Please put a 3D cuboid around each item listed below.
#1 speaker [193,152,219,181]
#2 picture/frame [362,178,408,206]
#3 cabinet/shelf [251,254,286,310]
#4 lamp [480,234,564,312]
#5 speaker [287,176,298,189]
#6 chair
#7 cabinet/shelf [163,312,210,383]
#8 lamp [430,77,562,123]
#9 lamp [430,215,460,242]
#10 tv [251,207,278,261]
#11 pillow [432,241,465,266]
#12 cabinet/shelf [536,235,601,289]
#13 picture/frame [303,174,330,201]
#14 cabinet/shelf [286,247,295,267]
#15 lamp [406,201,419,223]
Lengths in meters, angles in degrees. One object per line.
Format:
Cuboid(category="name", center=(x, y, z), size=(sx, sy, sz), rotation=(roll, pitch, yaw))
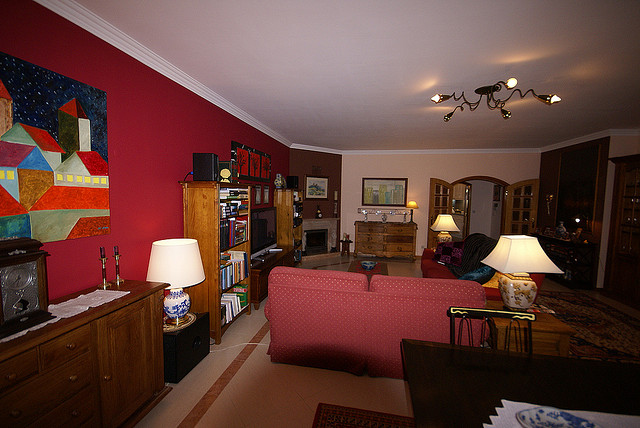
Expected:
Cuboid(category="speaker", center=(-1.441, -0.598, 4.918), size=(0.303, 0.357, 0.252), rotation=(-1, 2, -18))
Cuboid(category="picture/frame", center=(1.605, -0.554, 9.692), size=(1.060, 0.653, 0.223), rotation=(0, 3, 24))
Cuboid(category="cabinet/shelf", center=(-0.745, 0.960, 5.400), size=(0.235, 0.307, 0.813), rotation=(1, 4, 17))
Cuboid(category="lamp", center=(2.262, 0.683, 4.437), size=(0.833, 0.846, 0.811), rotation=(-3, 5, -38))
Cuboid(category="speaker", center=(-0.574, -0.649, 7.995), size=(0.241, 0.270, 0.762), rotation=(-1, 2, -6))
Cuboid(category="chair", center=(1.615, 1.170, 3.872), size=(0.767, 0.491, 0.437), rotation=(4, -3, -2))
Cuboid(category="cabinet/shelf", center=(-1.667, 1.530, 4.642), size=(0.407, 0.582, 0.806), rotation=(3, 6, 9))
Cuboid(category="lamp", center=(2.272, -1.571, 5.291), size=(0.907, 0.215, 0.903), rotation=(5, -18, -19))
Cuboid(category="lamp", center=(2.244, 0.271, 7.051), size=(0.549, 0.519, 0.554), rotation=(-1, 3, -21))
Cuboid(category="tv", center=(-0.977, 0.296, 6.800), size=(0.058, 0.730, 1.010), rotation=(0, -10, -35))
Cuboid(category="pillow", center=(2.300, 0.676, 6.925), size=(0.127, 0.412, 0.422), rotation=(30, -13, -29))
Cuboid(category="cabinet/shelf", center=(4.854, 0.920, 7.771), size=(0.442, 0.793, 1.361), rotation=(3, 3, 6))
Cuboid(category="picture/frame", center=(-0.125, -0.657, 9.331), size=(0.672, 0.560, 0.049), rotation=(-1, 2, -41))
Cuboid(category="cabinet/shelf", center=(-0.556, 0.767, 7.073), size=(0.101, 0.183, 0.355), rotation=(1, 0, 12))
Cuboid(category="lamp", center=(2.233, -0.073, 9.486), size=(0.270, 0.493, 0.267), rotation=(0, 2, 11))
